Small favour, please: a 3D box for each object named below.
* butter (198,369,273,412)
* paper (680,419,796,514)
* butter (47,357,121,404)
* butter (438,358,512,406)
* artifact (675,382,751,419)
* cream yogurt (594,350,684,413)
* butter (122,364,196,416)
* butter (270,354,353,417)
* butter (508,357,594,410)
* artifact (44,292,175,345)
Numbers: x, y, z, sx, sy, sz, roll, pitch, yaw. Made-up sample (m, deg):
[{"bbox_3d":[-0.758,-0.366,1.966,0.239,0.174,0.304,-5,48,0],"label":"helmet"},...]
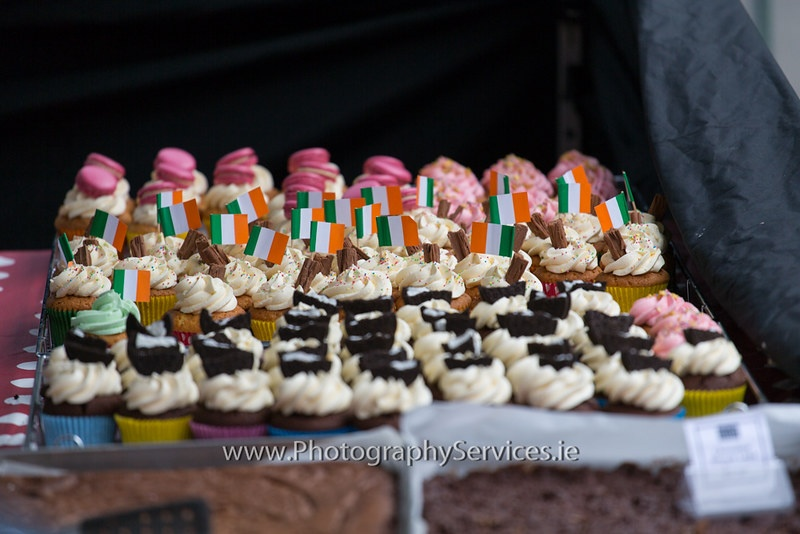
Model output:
[{"bbox_3d":[-0.594,0.456,2.646,0.169,0.063,0.176,13,16,43],"label":"butter"},{"bbox_3d":[1.119,0.654,2.409,0.375,0.332,0.118,-1,-11,-12],"label":"paper"},{"bbox_3d":[-1.212,0.440,2.760,0.284,0.170,0.084,-4,-11,5],"label":"butter"},{"bbox_3d":[0.271,0.420,2.670,0.273,0.177,0.141,-5,-11,6],"label":"butter"},{"bbox_3d":[1.243,0.521,2.834,0.323,0.105,0.103,2,-12,-28],"label":"artifact"},{"bbox_3d":[0.886,0.429,2.668,0.248,0.100,0.237,-8,27,-40],"label":"cream yogurt"},{"bbox_3d":[-0.896,0.471,2.726,0.260,0.173,0.067,-4,-11,5],"label":"butter"},{"bbox_3d":[-0.318,0.430,2.642,0.264,0.232,0.139,1,-11,-20],"label":"butter"},{"bbox_3d":[0.557,0.422,2.621,0.197,0.107,0.221,1,17,2],"label":"butter"},{"bbox_3d":[-1.373,0.226,3.429,0.367,0.215,0.434,-1,5,1],"label":"artifact"}]
